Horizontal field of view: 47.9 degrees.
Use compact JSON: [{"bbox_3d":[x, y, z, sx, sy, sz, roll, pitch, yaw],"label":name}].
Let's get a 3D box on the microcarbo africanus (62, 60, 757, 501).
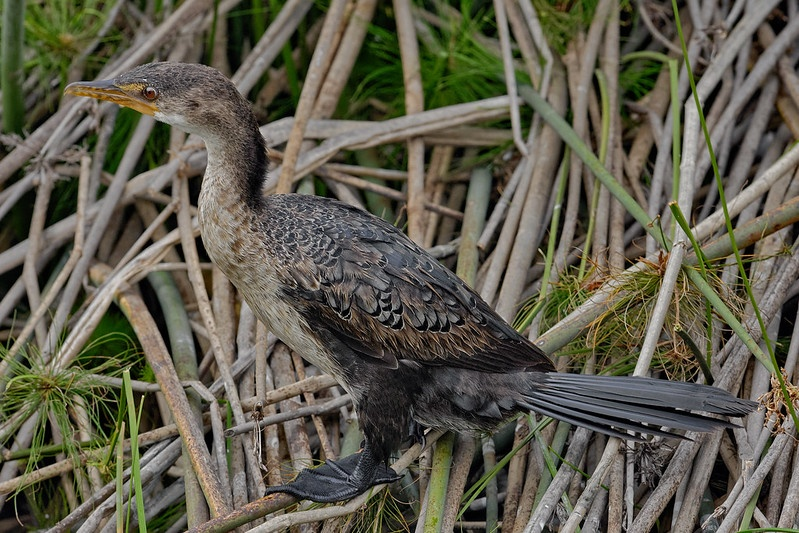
[{"bbox_3d":[-0.161,0.110,3.480,2.394,1.380,0.863,15,49,28],"label":"microcarbo africanus"}]
